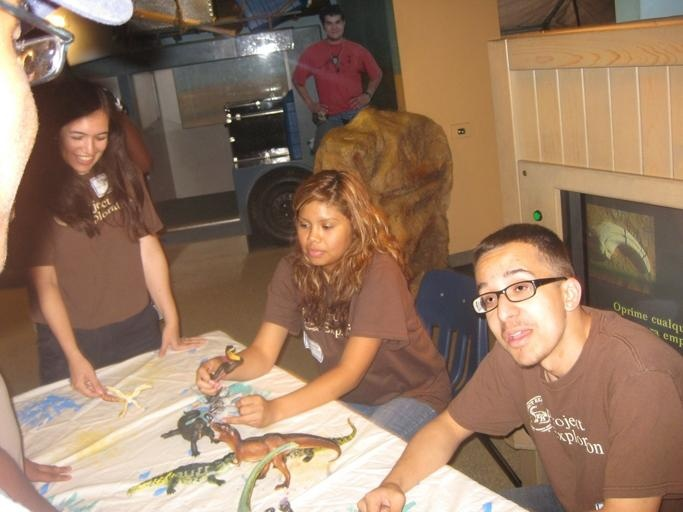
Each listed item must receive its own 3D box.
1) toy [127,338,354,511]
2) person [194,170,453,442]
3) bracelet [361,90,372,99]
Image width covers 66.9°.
[{"bbox_3d":[-0.306,0.566,1.713,0.689,0.319,0.255,-22,5,-9],"label":"toy"},{"bbox_3d":[-0.053,0.231,2.261,1.078,1.204,0.742,-10,13,-31],"label":"person"},{"bbox_3d":[0.273,-1.732,5.549,0.098,0.069,0.090,8,13,-20],"label":"bracelet"}]
